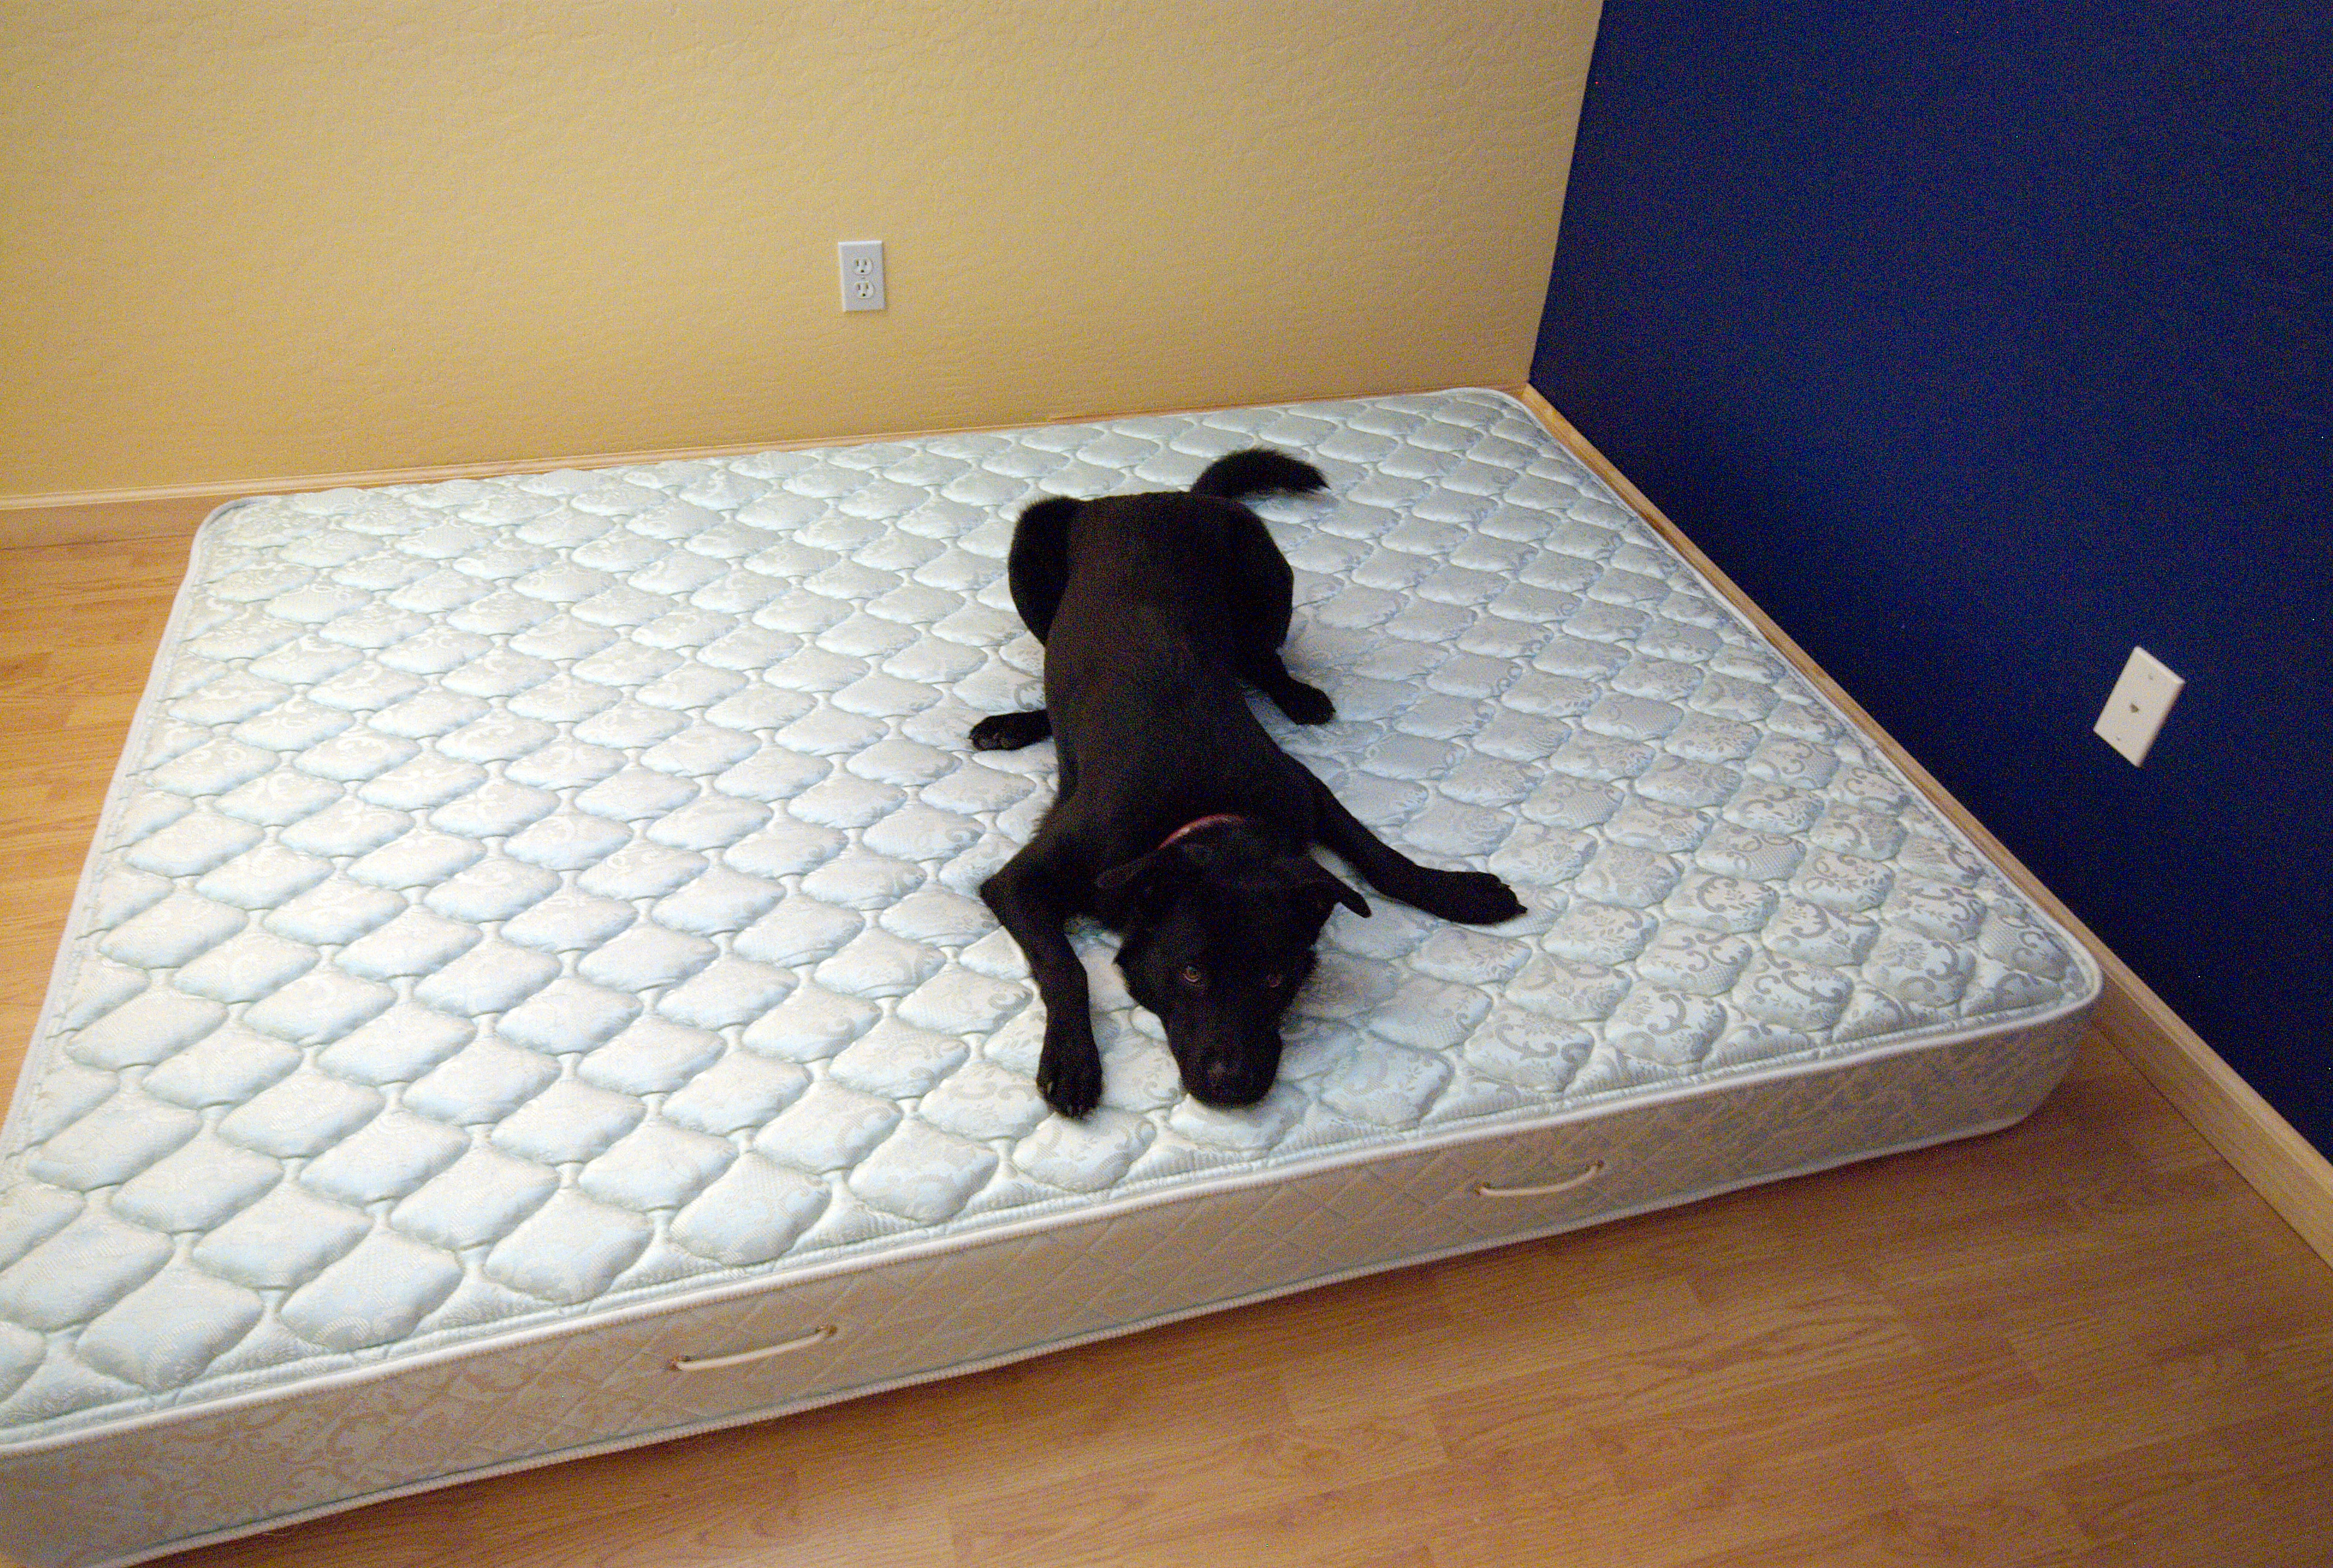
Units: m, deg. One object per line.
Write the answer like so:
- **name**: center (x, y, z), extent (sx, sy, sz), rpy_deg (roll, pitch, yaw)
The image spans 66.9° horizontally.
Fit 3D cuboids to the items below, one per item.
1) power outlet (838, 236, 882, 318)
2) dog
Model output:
- **power outlet**: center (-0.683, -1.132, 3.972), extent (0.109, 0.172, 0.044), rpy_deg (-2, 46, -6)
- **dog**: center (0.026, 0.025, 2.905), extent (1.053, 0.326, 1.023), rpy_deg (-12, 50, 0)
